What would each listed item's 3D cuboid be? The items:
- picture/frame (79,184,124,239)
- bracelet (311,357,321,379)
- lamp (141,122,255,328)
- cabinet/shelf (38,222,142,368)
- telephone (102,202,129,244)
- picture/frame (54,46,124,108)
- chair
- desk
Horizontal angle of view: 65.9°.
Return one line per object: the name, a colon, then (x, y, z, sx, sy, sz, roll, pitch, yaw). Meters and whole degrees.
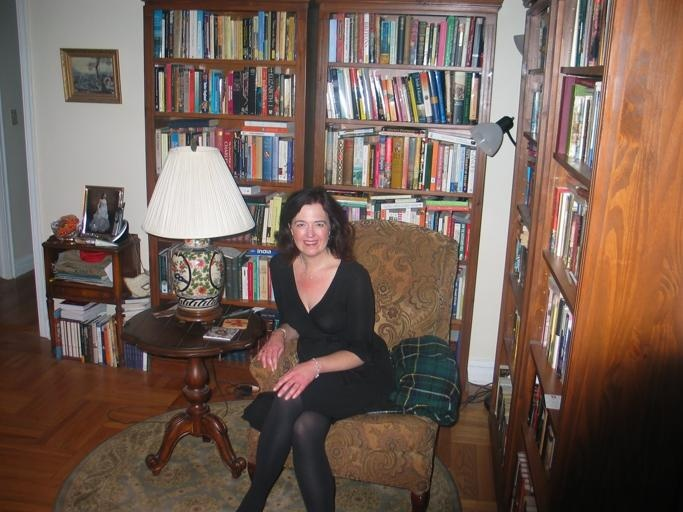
picture/frame: (-1.630, -0.292, 3.582, 0.343, 0.523, 0.052, 0, -14, 2)
bracelet: (-0.114, 0.502, 2.323, 0.056, 0.085, 0.044, -10, 16, -39)
lamp: (-0.691, -0.110, 2.560, 0.514, 0.884, 0.293, -1, 12, -6)
cabinet/shelf: (-1.711, 0.287, 3.642, 0.654, 0.880, 0.288, 2, 12, 7)
telephone: (-1.536, -0.216, 3.518, 0.075, 0.232, 0.158, 17, -11, -31)
picture/frame: (-1.688, -1.214, 3.536, 0.374, 0.360, 0.029, 2, 22, 5)
chair: (0.257, 0.457, 2.797, 1.102, 1.635, 1.243, 2, 6, 10)
desk: (-0.736, 0.733, 2.637, 0.629, 0.706, 0.669, 9, -29, -33)
